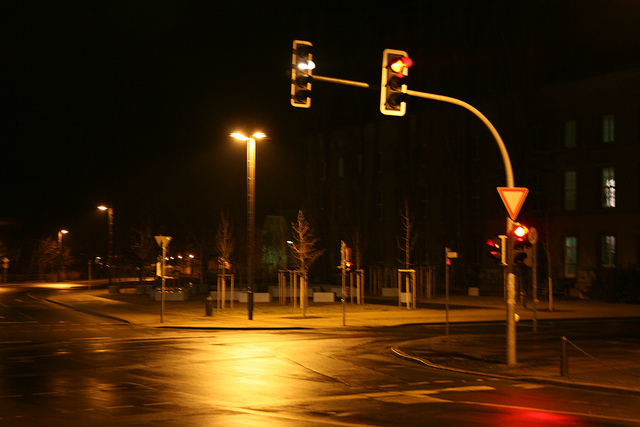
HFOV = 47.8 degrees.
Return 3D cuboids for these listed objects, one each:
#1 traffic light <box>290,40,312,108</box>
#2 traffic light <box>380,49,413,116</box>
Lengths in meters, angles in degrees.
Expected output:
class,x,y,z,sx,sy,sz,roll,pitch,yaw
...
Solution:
class,x,y,z,sx,sy,sz,roll,pitch,yaw
traffic light,-0.547,-4.137,21.849,0.644,2.124,0.919,2,-9,-3
traffic light,2.447,-4.193,22.375,1.021,2.029,0.652,1,3,-41
